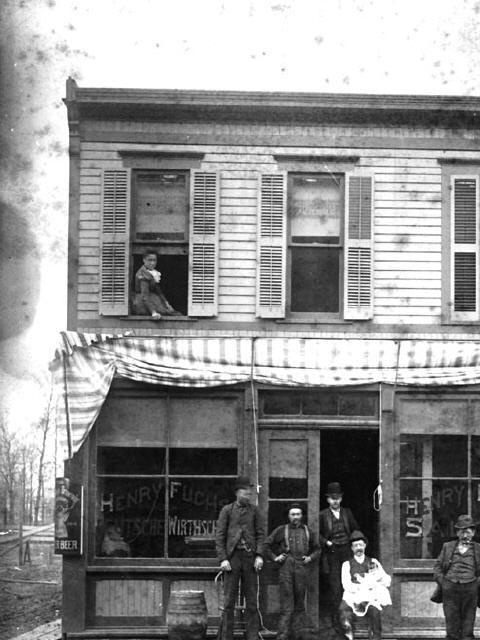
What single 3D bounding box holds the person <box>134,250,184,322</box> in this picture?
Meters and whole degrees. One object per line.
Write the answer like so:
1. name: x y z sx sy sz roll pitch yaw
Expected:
1. person: -1.157 -0.460 25.607 0.579 0.939 0.249 2 -6 -6
